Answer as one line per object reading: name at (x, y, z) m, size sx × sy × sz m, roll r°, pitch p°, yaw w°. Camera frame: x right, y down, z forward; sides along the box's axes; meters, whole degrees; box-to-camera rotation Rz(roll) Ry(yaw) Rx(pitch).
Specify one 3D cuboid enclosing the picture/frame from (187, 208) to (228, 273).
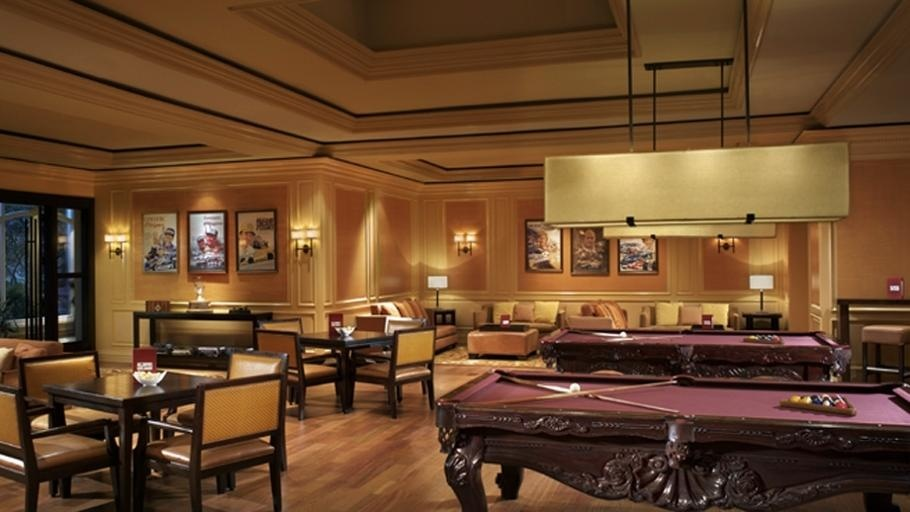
picture/frame at (-5.240, -0.286, 13.079) m, size 0.730 × 1.425 × 0.290 m, roll -4°, pitch 0°, yaw -9°

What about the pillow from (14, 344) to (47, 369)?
pillow at (-5.870, 1.407, 8.551) m, size 0.344 × 0.103 × 0.304 m, roll 6°, pitch 14°, yaw -3°

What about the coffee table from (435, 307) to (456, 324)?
coffee table at (-0.225, 1.517, 15.205) m, size 0.430 × 0.446 × 0.553 m, roll -2°, pitch 2°, yaw -34°

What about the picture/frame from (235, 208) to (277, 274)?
picture/frame at (-4.079, -0.315, 12.803) m, size 1.268 × 1.358 × 0.051 m, roll -1°, pitch -2°, yaw 18°

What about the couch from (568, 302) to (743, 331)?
couch at (4.452, 1.321, 13.236) m, size 2.945 × 0.641 × 1.097 m, roll 0°, pitch -1°, yaw 24°

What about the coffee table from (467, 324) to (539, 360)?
coffee table at (1.031, 1.986, 13.588) m, size 2.459 × 0.802 × 1.157 m, roll -1°, pitch -2°, yaw 12°

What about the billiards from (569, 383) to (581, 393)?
billiards at (1.262, 1.403, 6.518) m, size 0.101 × 0.052 × 0.091 m, roll 1°, pitch -5°, yaw -16°

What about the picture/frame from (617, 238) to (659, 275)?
picture/frame at (4.491, 0.019, 14.964) m, size 1.067 × 0.791 × 0.095 m, roll 0°, pitch -3°, yaw 7°

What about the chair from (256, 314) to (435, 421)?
chair at (-1.425, 1.694, 9.891) m, size 1.375 × 1.991 × 1.483 m, roll 0°, pitch -1°, yaw 37°
